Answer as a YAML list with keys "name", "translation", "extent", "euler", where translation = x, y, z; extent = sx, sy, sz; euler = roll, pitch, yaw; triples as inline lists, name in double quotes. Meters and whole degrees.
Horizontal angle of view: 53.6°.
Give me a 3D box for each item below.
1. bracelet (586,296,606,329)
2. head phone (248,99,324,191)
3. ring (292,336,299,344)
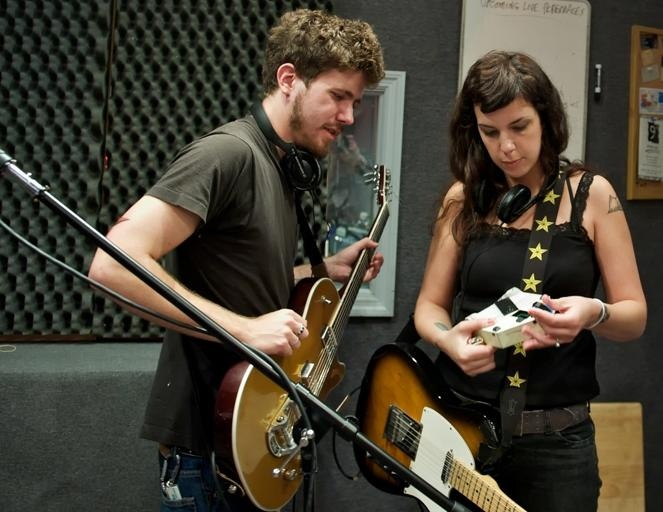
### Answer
- name: "bracelet"
  translation: [0.906, 0.191, 2.204]
  extent: [0.040, 0.092, 0.077]
  euler: [9, 37, -11]
- name: "head phone"
  translation: [-0.176, -0.425, 2.404]
  extent: [0.124, 0.362, 0.334]
  euler: [-31, 21, 4]
- name: "ring"
  translation: [-0.110, 0.261, 2.039]
  extent: [0.014, 0.030, 0.007]
  euler: [2, -6, 5]
